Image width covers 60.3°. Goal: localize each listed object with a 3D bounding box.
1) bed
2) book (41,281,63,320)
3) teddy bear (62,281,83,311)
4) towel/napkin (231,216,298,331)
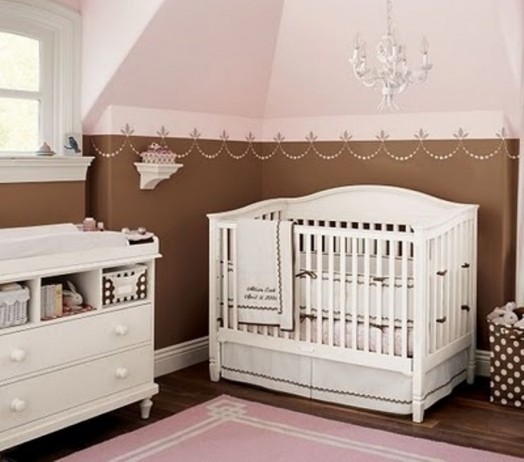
[{"bbox_3d":[0.560,0.439,3.154,1.502,1.293,0.965,-5,-4,41],"label":"bed"},{"bbox_3d":[-0.949,0.319,2.054,0.061,0.150,0.115,4,4,42],"label":"book"},{"bbox_3d":[-0.912,0.312,2.219,0.114,0.135,0.125,1,5,2],"label":"teddy bear"},{"bbox_3d":[0.009,0.260,2.806,0.384,0.671,0.060,5,-18,-15],"label":"towel/napkin"}]
